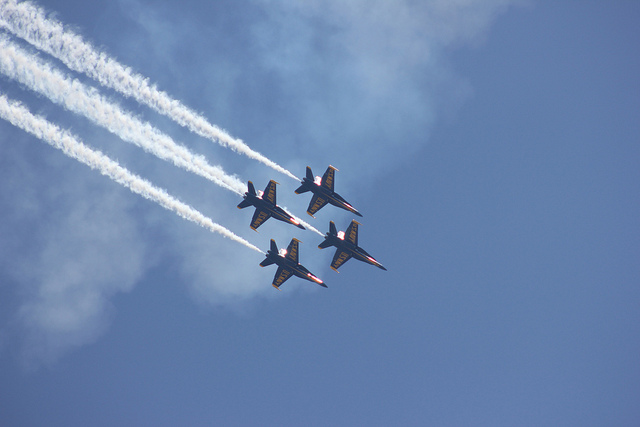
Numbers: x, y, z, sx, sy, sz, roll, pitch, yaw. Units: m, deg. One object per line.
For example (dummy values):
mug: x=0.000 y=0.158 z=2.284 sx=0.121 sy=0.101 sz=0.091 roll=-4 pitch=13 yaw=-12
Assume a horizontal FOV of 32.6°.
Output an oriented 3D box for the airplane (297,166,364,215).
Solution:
airplane: x=1.086 y=-1.775 z=104.729 sx=6.094 sy=1.558 sz=5.538 roll=33 pitch=-58 yaw=3

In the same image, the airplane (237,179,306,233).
airplane: x=-5.418 y=-0.588 z=102.936 sx=4.193 sy=3.190 sz=5.600 roll=-26 pitch=-78 yaw=6

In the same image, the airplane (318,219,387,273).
airplane: x=3.438 y=3.302 z=104.743 sx=6.737 sy=1.818 sz=5.345 roll=28 pitch=-109 yaw=-2
